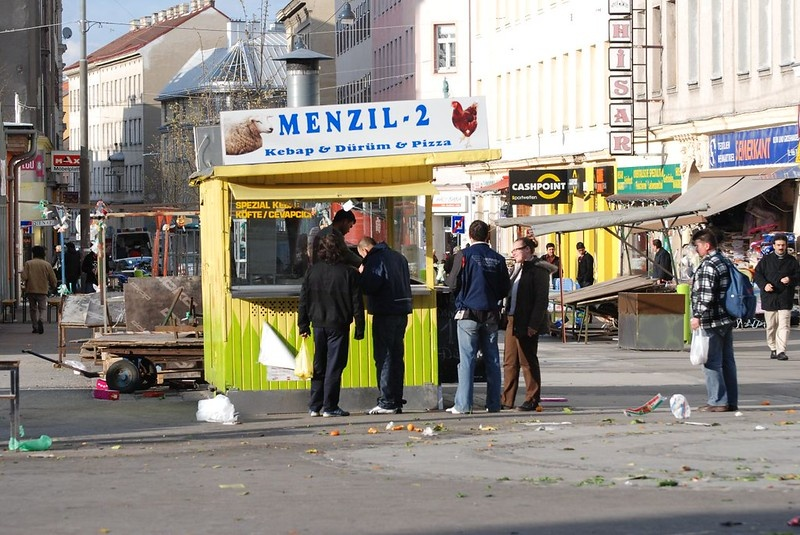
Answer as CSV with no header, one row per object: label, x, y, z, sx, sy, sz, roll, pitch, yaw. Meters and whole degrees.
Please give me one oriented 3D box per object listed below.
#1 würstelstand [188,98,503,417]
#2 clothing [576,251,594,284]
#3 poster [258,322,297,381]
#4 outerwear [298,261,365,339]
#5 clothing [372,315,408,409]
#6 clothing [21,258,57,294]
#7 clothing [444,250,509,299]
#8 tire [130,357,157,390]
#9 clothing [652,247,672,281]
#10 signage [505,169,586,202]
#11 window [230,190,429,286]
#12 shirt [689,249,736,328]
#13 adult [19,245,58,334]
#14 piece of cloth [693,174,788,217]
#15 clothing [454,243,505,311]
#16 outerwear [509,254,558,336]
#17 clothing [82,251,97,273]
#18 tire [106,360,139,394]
würstelstand,-0.991,-0.058,24.942,4.372,4.513,4.583,-1,-1,-17
clothing,4.752,0.077,41.147,0.395,0.852,0.591,-1,-1,6
poster,-1.772,1.221,22.875,0.574,0.860,0.471,-2,-1,11
outerwear,-0.983,0.490,22.323,1.018,1.164,0.452,2,7,7
clothing,-0.216,1.315,22.849,0.433,1.416,0.548,-2,1,12
clothing,-8.678,0.246,37.847,0.821,0.843,0.498,5,-1,-18
clothing,1.123,0.110,22.912,1.027,1.045,0.638,1,3,2
tire,-4.158,1.695,25.403,0.503,0.514,0.185,-3,0,6
clothing,6.268,-0.049,38.135,0.250,0.620,0.798,1,2,24
signage,4.500,-2.506,49.922,2.485,1.157,0.251,1,4,30
window,-1.380,-0.468,22.612,2.076,1.096,1.498,-4,-9,-7
shirt,4.511,0.311,23.082,0.571,1.141,1.364,3,9,24
adult,-8.587,0.536,37.719,0.821,2.036,0.994,1,0,-21
piece of cloth,8.279,-1.740,38.426,1.790,0.966,2.244,-1,-1,9
clothing,1.107,0.183,22.707,0.930,1.001,0.614,1,4,-8
outerwear,1.931,0.428,23.247,0.680,1.115,0.919,0,4,-15
clothing,-9.861,-0.147,49.947,0.367,0.650,0.650,20,5,16
tire,-4.410,1.749,25.025,0.397,0.402,0.154,25,1,-4
